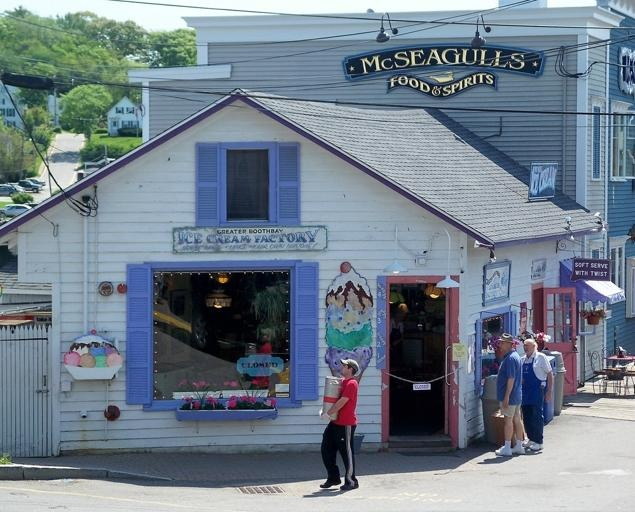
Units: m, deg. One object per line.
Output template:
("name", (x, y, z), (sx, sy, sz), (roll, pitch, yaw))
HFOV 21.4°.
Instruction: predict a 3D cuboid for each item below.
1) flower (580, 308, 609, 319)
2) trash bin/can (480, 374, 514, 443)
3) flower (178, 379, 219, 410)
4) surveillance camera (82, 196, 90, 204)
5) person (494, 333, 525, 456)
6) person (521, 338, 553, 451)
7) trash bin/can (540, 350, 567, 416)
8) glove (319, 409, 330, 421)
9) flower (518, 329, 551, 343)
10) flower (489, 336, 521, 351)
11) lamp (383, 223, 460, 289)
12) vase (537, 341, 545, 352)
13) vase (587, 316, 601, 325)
("flower", (7.490, 1.607, 45.514), (0.512, 0.422, 0.643), (-4, -5, 33))
("trash bin/can", (4.137, 3.585, 39.313), (0.708, 1.314, 0.753), (3, 4, -10))
("flower", (-2.705, 3.186, 39.104), (0.774, 0.449, 0.722), (1, -3, 7))
("surveillance camera", (-5.399, -1.306, 38.964), (0.188, 0.159, 0.118), (2, 9, -10))
("person", (4.430, 3.158, 38.471), (0.596, 2.754, 0.721), (-1, -5, 6))
("person", (5.068, 3.180, 38.979), (0.707, 2.278, 0.880), (7, 5, 24))
("trash bin/can", (5.903, 3.087, 41.388), (0.511, 1.593, 0.620), (5, 5, 5))
("glove", (0.150, 3.408, 36.411), (0.235, 0.087, 0.170), (36, -10, 0))
("flower", (5.378, 1.940, 41.483), (0.492, 0.178, 0.475), (3, -15, 35))
("flower", (4.529, 2.053, 40.538), (0.587, 0.188, 0.486), (3, -3, -35))
("lamp", (2.513, -0.029, 39.212), (1.371, 1.588, 1.097), (0, 0, 11))
("vase", (5.491, 2.179, 41.267), (0.145, 0.226, 0.259), (5, 3, 32))
("vase", (7.486, 1.705, 45.298), (0.256, 0.173, 0.258), (1, 1, 42))
